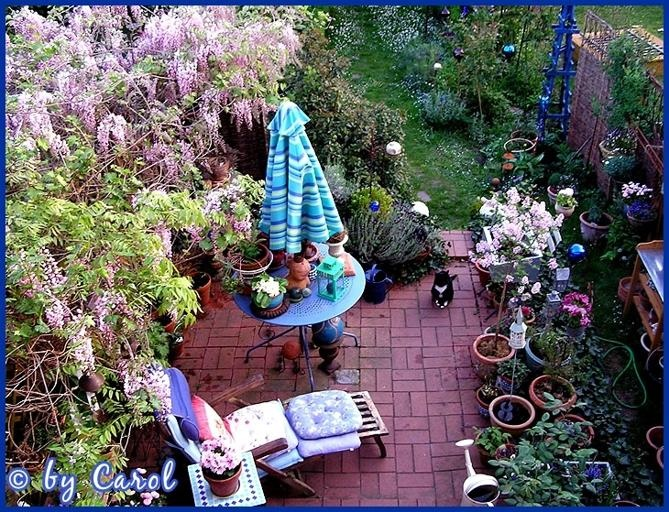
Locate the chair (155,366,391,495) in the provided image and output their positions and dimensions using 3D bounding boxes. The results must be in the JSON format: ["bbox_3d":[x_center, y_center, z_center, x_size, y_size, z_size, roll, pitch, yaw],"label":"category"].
[{"bbox_3d":[-0.495,1.464,4.957,2.233,1.371,1.045,-9,44,-11],"label":"chair"}]

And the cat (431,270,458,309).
[{"bbox_3d":[1.467,0.395,6.480,0.301,0.515,0.488,6,33,9],"label":"cat"}]

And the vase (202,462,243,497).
[{"bbox_3d":[-0.910,1.877,4.131,0.312,0.226,0.300,-6,25,-11],"label":"vase"}]

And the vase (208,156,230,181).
[{"bbox_3d":[-1.585,-1.169,6.819,0.274,0.289,0.324,-3,51,-7],"label":"vase"}]

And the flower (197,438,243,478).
[{"bbox_3d":[-0.951,1.631,4.133,0.312,0.207,0.299,11,20,20],"label":"flower"}]

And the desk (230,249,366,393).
[{"bbox_3d":[-0.393,0.655,5.537,1.474,1.500,1.012,-21,73,34],"label":"desk"}]
